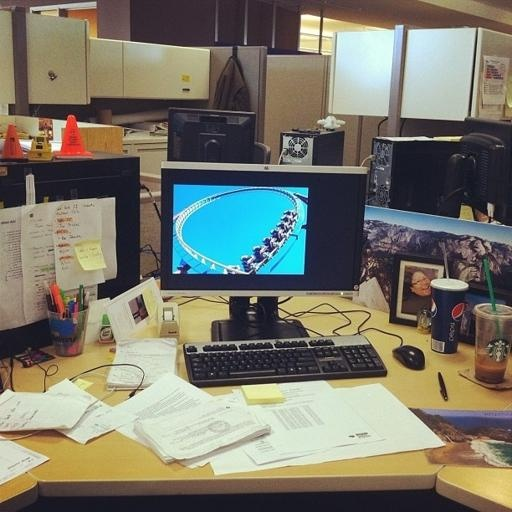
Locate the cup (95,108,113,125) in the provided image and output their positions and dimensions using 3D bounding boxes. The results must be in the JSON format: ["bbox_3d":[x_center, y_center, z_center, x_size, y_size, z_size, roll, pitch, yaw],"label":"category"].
[{"bbox_3d":[-1.266,-1.159,4.165,0.126,0.120,0.195,-3,14,-15],"label":"cup"}]

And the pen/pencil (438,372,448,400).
[{"bbox_3d":[0.403,0.277,1.069,0.011,0.010,0.100,-2,16,16],"label":"pen/pencil"}]

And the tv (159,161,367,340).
[{"bbox_3d":[0.014,-0.016,1.268,0.552,0.419,0.213,0,6,-7],"label":"tv"}]

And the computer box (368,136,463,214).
[{"bbox_3d":[0.609,-0.314,1.931,0.312,0.246,0.162,-6,18,-24],"label":"computer box"}]

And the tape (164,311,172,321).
[{"bbox_3d":[-0.228,0.149,1.285,0.022,0.006,0.021,2,49,-17],"label":"tape"}]

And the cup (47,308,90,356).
[{"bbox_3d":[-0.434,0.181,1.211,0.113,0.105,0.108,1,7,0],"label":"cup"}]

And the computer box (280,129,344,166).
[{"bbox_3d":[0.328,-0.602,2.953,0.202,0.231,0.364,3,-2,25],"label":"computer box"}]
